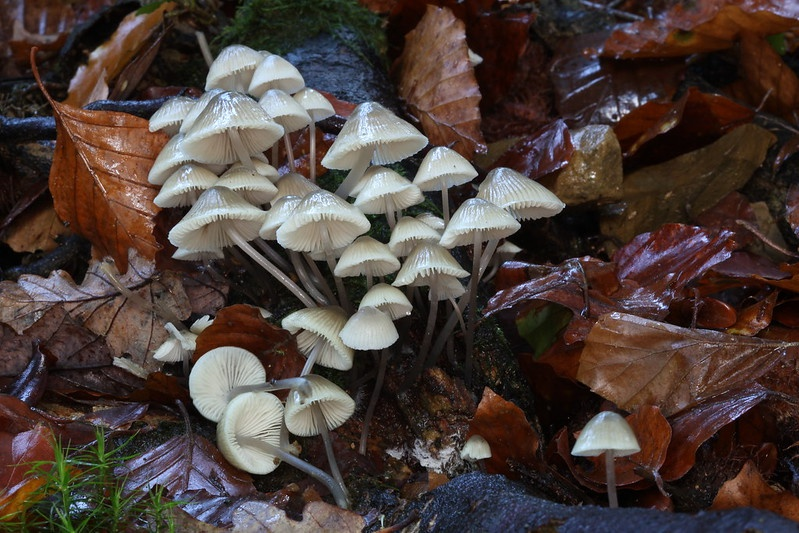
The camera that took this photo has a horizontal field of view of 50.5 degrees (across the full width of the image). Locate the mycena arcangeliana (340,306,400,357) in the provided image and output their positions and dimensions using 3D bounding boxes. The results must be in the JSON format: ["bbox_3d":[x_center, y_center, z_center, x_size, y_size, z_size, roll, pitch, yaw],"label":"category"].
[{"bbox_3d":[-0.181,0.354,4.972,0.397,0.399,0.210,-2,94,20],"label":"mycena arcangeliana"}]

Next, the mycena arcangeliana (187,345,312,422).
[{"bbox_3d":[-0.881,0.657,4.934,0.632,0.292,0.438,8,79,-12],"label":"mycena arcangeliana"}]

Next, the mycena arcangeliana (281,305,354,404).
[{"bbox_3d":[-0.464,0.421,5.040,0.368,0.395,0.429,23,73,16],"label":"mycena arcangeliana"}]

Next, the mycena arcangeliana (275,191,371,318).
[{"bbox_3d":[-0.416,-0.126,5.000,0.537,0.502,0.663,-1,68,-28],"label":"mycena arcangeliana"}]

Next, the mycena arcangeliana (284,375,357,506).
[{"bbox_3d":[-0.477,1.017,4.892,0.354,0.341,0.648,-26,58,1],"label":"mycena arcangeliana"}]

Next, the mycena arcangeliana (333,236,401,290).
[{"bbox_3d":[-0.192,-0.038,5.051,0.324,0.332,0.312,-4,78,31],"label":"mycena arcangeliana"}]
